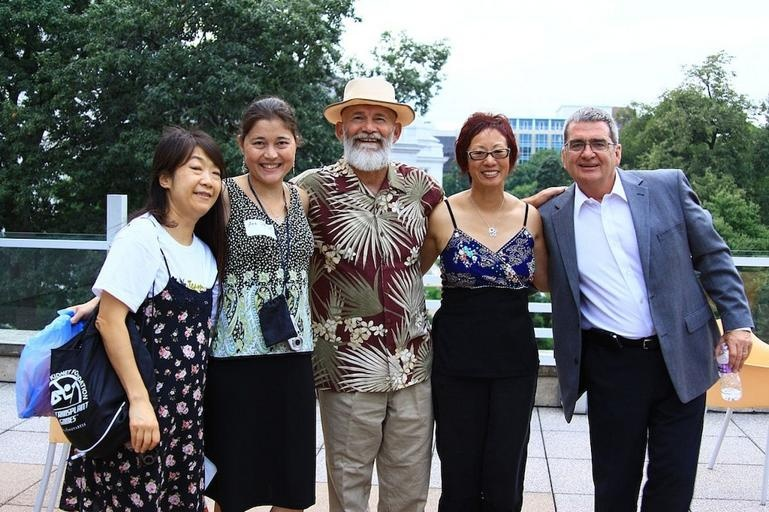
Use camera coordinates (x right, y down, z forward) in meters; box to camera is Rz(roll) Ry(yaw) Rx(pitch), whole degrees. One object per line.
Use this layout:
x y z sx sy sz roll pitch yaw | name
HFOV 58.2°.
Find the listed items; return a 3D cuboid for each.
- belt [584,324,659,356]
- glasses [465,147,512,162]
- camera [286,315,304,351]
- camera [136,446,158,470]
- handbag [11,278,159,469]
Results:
1.349 0.474 3.945 0.409 0.108 0.067 -2 1 18 | belt
0.611 -0.592 4.026 0.248 0.066 0.054 -2 1 7 | glasses
-0.481 0.422 3.787 0.045 0.163 0.118 -14 -7 8 | camera
-1.177 1.012 3.436 0.083 0.100 0.099 -6 21 -6 | camera
-1.508 0.640 3.476 0.657 0.789 0.296 -2 1 23 | handbag
